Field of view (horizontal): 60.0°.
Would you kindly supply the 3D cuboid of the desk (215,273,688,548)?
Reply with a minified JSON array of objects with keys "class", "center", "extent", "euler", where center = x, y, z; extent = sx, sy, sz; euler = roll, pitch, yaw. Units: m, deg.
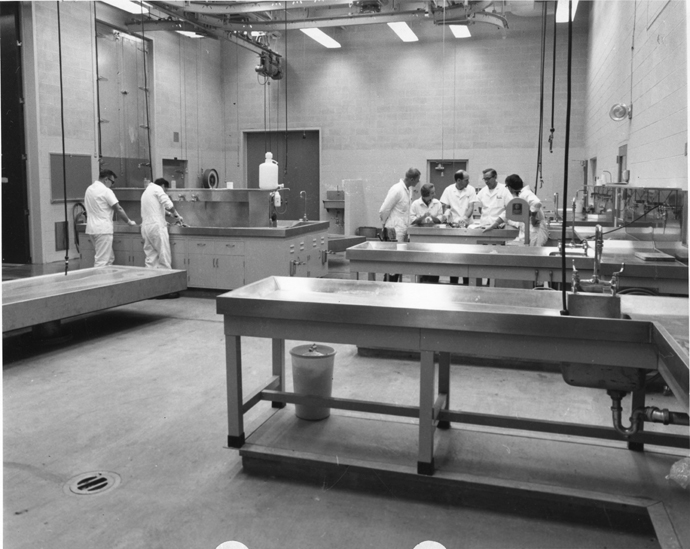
[{"class":"desk","center":[0.554,0.577,3.378],"extent":[2.494,0.933,1.085],"euler":[4,12,26]}]

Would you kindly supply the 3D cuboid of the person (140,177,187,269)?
[{"class":"person","center":[-2.494,-0.673,8.098],"extent":[0.637,1.190,0.460],"euler":[6,13,33]}]

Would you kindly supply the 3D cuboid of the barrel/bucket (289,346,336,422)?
[{"class":"barrel/bucket","center":[-0.206,0.696,3.786],"extent":[0.390,0.556,0.370],"euler":[0,5,0]}]

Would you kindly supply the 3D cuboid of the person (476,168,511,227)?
[{"class":"person","center":[2.025,-0.889,8.161],"extent":[0.463,1.090,0.394],"euler":[11,28,29]}]

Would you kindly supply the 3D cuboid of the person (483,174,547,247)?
[{"class":"person","center":[2.060,-0.582,7.035],"extent":[0.409,1.138,0.592],"euler":[-12,16,-39]}]

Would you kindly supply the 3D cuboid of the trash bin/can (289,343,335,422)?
[{"class":"trash bin/can","center":[-0.202,0.633,3.870],"extent":[0.305,0.440,0.309],"euler":[8,24,22]}]
